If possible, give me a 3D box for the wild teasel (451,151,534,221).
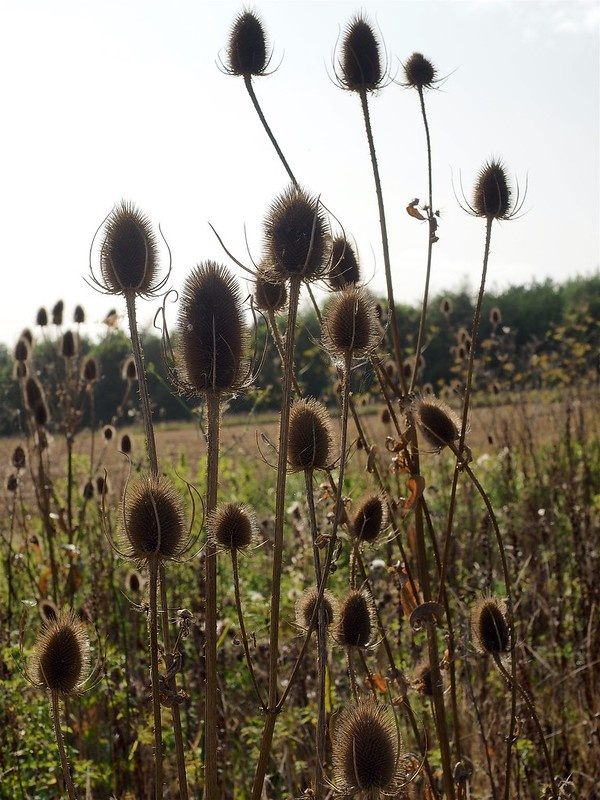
[{"bbox_3d":[0.772,-0.809,4.259,0.236,0.383,0.260,16,-16,-32],"label":"wild teasel"}]

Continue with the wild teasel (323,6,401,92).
[{"bbox_3d":[0.234,-1.368,4.136,0.166,0.377,0.198,0,-13,-6],"label":"wild teasel"}]
